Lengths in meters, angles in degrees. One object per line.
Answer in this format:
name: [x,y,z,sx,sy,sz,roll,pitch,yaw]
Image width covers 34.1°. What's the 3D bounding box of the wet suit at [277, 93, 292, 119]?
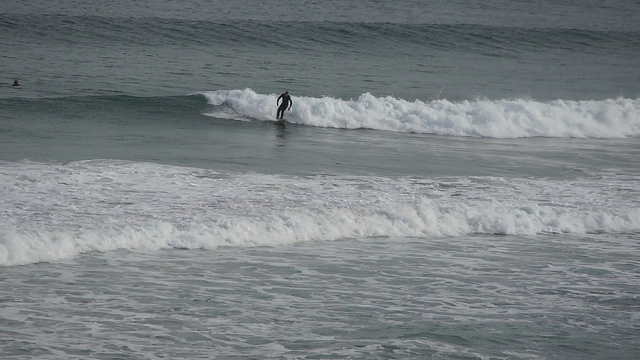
wet suit: [-1.736,-3.654,51.507,0.711,1.290,0.645,4,18,-1]
